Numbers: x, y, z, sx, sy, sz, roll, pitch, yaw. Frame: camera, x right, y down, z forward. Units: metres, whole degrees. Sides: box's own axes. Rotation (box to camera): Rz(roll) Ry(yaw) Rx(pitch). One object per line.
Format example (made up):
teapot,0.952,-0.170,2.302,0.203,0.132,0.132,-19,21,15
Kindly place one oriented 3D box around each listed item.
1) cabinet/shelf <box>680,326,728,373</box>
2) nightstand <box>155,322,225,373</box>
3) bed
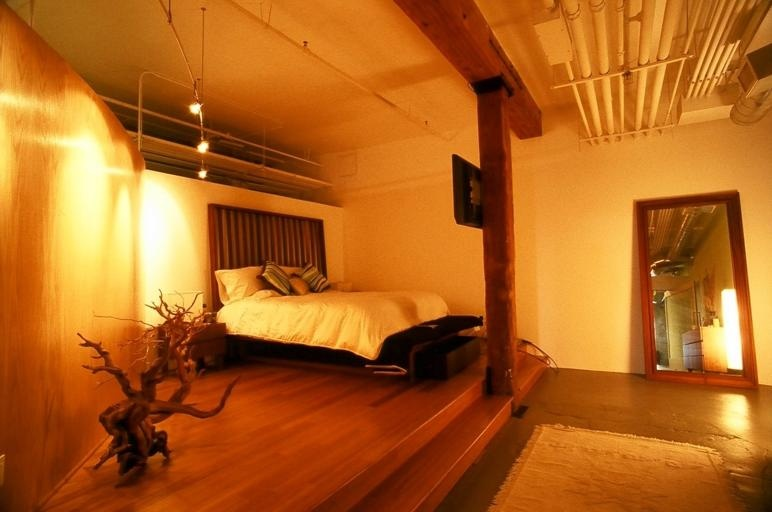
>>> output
cabinet/shelf,4.156,1.242,6.814,0.288,0.559,0.398,5,-16,-3
nightstand,-2.469,1.115,6.597,0.806,0.596,0.453,2,-3,-36
bed,-0.598,0.368,7.406,3.085,2.052,2.300,-1,-1,25
